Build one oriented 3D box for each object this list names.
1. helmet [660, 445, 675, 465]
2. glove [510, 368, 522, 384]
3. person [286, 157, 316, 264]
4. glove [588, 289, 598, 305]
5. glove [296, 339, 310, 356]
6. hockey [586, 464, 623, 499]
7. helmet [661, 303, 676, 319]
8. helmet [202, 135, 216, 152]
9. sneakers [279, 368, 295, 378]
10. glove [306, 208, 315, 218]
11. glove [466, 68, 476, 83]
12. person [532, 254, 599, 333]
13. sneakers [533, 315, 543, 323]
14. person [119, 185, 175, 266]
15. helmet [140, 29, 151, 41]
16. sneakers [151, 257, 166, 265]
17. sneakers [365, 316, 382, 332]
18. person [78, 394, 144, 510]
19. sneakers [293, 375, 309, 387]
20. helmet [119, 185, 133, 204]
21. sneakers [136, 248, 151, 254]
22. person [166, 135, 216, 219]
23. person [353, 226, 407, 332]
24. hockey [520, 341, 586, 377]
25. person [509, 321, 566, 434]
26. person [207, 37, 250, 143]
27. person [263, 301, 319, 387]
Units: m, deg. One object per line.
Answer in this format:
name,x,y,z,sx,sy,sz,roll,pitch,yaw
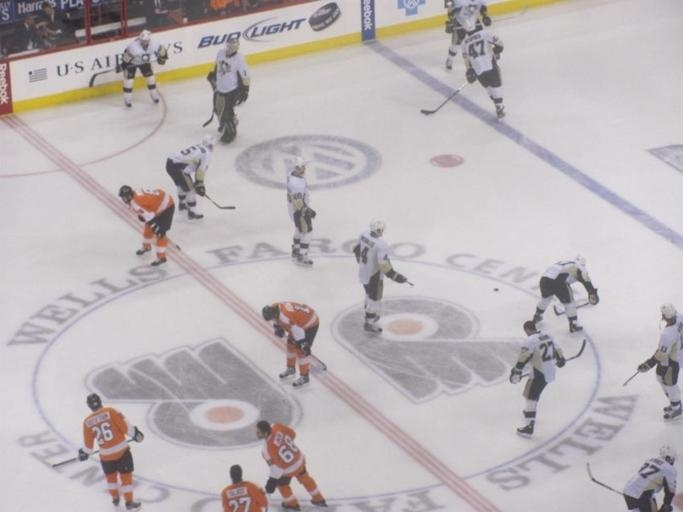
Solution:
helmet,3.781,2.307,10.359,0.164,0.206,0.212,4,10,3
glove,2.237,1.530,11.545,0.166,0.201,0.194,6,36,0
person,-0.685,-0.709,14.236,0.462,1.720,0.590,-10,24,-3
glove,3.672,0.604,13.151,0.168,0.204,0.217,-5,13,4
glove,-0.517,1.221,11.963,0.128,0.199,0.149,-35,35,-16
hockey,3.183,2.766,10.897,0.424,0.113,0.420,42,36,26
helmet,4.274,0.714,11.620,0.165,0.168,0.198,-7,6,-1
helmet,-2.257,-1.915,15.158,0.189,0.291,0.292,-9,23,-3
sneakers,-0.754,1.618,12.332,0.254,0.164,0.092,-2,52,-8
glove,-0.513,-0.685,14.099,0.137,0.029,0.139,50,27,15
glove,2.670,-3.736,18.384,0.306,0.391,0.100,1,49,7
person,3.338,0.546,13.179,0.936,1.005,0.840,8,12,38
sneakers,2.905,0.935,13.203,0.108,0.108,0.135,1,-2,23
person,-3.144,-0.441,14.355,0.817,1.187,0.565,-20,57,-28
helmet,-3.922,-4.407,17.726,0.186,0.186,0.239,12,38,6
sneakers,-2.923,0.101,14.308,0.278,0.115,0.088,-14,52,16
sneakers,0.451,1.009,13.125,0.283,0.181,0.155,8,33,14
person,-2.702,2.315,10.505,0.734,1.474,0.441,-14,25,-14
sneakers,-0.558,1.718,12.218,0.281,0.181,0.096,-2,48,-11
helmet,-3.306,-0.942,13.713,0.214,0.302,0.264,-13,24,-13
sneakers,-3.235,-0.089,14.484,0.252,0.098,0.088,-7,29,4
person,-2.609,-1.310,15.464,1.069,1.513,0.647,-26,62,-29
person,0.539,0.296,12.903,0.673,1.683,0.375,0,25,18
hockey,3.121,1.374,12.829,0.606,0.177,0.570,-30,12,25
person,2.498,1.628,11.567,0.689,1.381,0.444,-23,28,-30
person,-2.156,-3.213,17.261,0.775,1.955,0.504,-10,24,-5
person,-0.724,1.177,12.188,0.861,1.223,0.669,-6,19,-16
